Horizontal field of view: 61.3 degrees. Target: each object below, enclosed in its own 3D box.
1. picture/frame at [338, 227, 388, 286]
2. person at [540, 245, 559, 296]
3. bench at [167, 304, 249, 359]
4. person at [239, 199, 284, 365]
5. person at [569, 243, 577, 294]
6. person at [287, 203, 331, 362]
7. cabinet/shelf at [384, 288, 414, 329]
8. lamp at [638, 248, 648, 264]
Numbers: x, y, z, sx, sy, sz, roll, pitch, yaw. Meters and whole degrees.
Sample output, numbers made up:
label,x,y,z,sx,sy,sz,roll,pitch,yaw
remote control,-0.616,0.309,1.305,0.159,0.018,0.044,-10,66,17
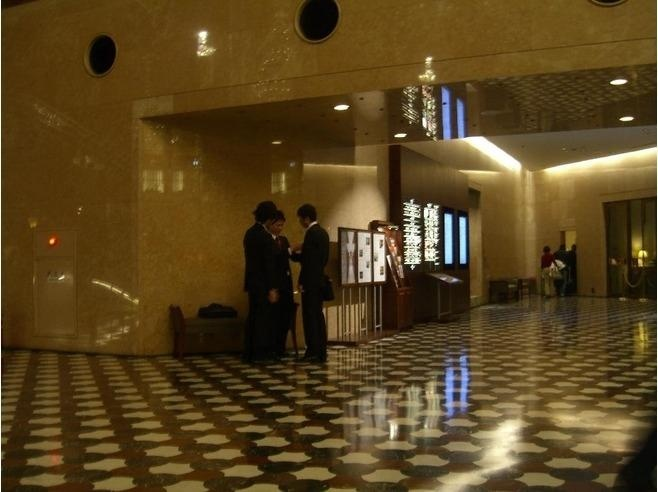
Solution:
label,x,y,z,sx,sy,sz,roll,pitch,yaw
picture/frame,0.584,0.208,10.349,0.062,1.082,1.825,-2,-3,40
person,8.723,0.991,21.975,0.509,1.968,1.082,-1,-2,19
bench,-1.926,1.300,9.002,0.918,0.588,0.909,-1,-5,-2
person,-1.014,0.489,8.210,0.485,2.361,0.532,0,-2,-9
person,9.767,0.899,22.183,0.273,1.994,0.490,-1,-2,23
person,-0.249,0.505,8.344,0.525,2.354,0.630,0,-2,-4
cabinet/shelf,1.457,1.216,12.079,0.350,1.001,1.086,-2,-3,29
lamp,10.993,0.372,19.413,0.371,0.613,0.365,1,-2,-29
